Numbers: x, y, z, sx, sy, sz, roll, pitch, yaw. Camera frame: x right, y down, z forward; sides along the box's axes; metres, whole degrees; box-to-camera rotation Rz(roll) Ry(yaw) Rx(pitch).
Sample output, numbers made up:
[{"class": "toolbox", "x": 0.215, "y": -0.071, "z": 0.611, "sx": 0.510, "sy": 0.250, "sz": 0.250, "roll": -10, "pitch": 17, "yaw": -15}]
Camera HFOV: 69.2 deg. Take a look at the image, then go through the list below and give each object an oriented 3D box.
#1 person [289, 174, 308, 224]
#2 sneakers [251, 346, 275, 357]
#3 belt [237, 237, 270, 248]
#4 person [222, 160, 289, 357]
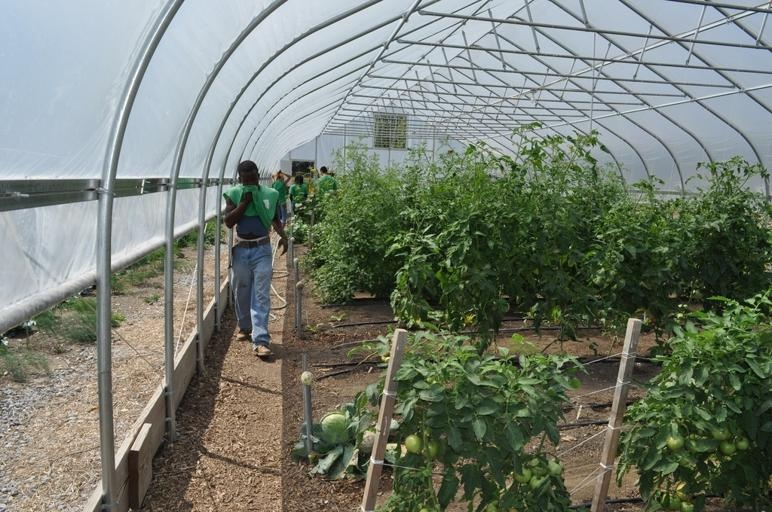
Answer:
[{"class": "person", "x": -2.276, "y": -1.551, "z": 14.185, "sx": 0.448, "sy": 1.092, "sz": 0.744, "roll": 4, "pitch": 14, "yaw": 16}, {"class": "sneakers", "x": -1.352, "y": 1.028, "z": 6.115, "sx": 0.108, "sy": 0.083, "sz": 0.201, "roll": 1, "pitch": -5, "yaw": -40}, {"class": "belt", "x": -1.469, "y": -0.173, "z": 6.098, "sx": 0.367, "sy": 0.112, "sz": 0.114, "roll": -3, "pitch": 14, "yaw": -15}, {"class": "person", "x": -1.462, "y": 0.003, "z": 6.171, "sx": 0.607, "sy": 2.105, "sz": 0.797, "roll": -2, "pitch": 14, "yaw": -12}]
